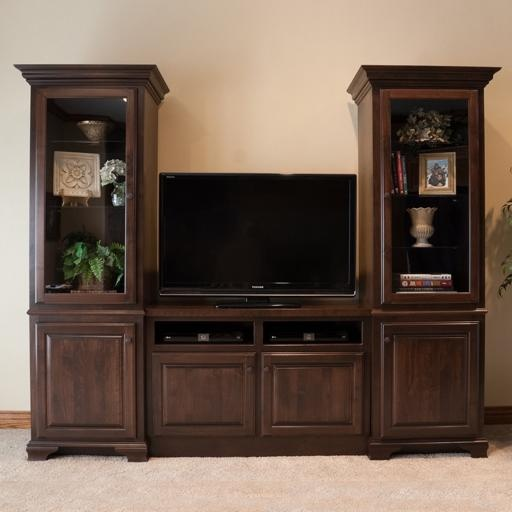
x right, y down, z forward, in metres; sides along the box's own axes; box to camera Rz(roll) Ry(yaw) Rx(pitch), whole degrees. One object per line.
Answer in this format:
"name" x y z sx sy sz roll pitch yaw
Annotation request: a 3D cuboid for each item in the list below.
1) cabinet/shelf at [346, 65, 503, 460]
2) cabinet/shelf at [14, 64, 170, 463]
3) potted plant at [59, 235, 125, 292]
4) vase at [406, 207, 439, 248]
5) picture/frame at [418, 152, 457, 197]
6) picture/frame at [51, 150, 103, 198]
"cabinet/shelf" 0.932 0.045 3.326 0.794 2.096 0.535 -1 4 -6
"cabinet/shelf" -0.914 0.048 3.323 0.764 2.102 0.533 2 6 6
"potted plant" -0.884 0.022 3.181 0.447 0.156 0.364 -19 23 -37
"vase" 0.930 -0.151 3.214 0.201 0.235 0.202 0 -7 -3
"picture/frame" 1.019 -0.442 3.175 0.240 0.310 0.024 0 -2 2
"picture/frame" -0.986 -0.452 3.138 0.261 0.266 0.020 1 0 -7
